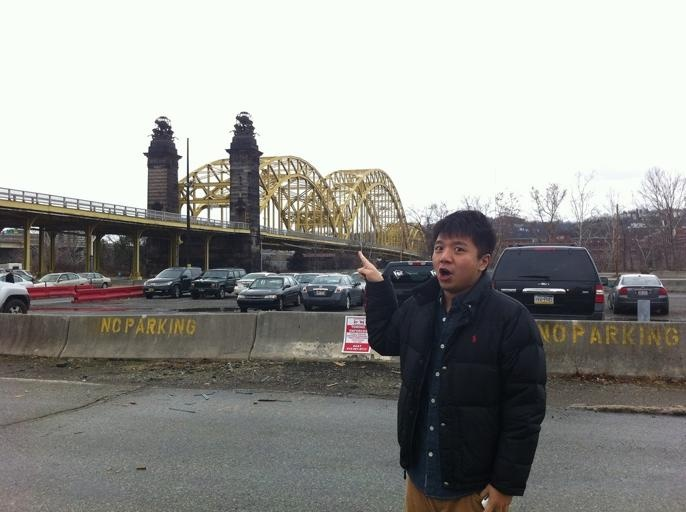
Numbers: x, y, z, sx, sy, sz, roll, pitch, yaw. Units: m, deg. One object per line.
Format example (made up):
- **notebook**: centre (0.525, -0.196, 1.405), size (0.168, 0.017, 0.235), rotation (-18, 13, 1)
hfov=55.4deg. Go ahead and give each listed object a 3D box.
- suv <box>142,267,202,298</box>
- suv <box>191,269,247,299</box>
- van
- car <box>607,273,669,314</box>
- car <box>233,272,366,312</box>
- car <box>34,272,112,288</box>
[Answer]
- **suv**: centre (-8.870, 1.393, 35.349), size (1.387, 1.253, 3.136), rotation (-3, -3, 18)
- **suv**: centre (-6.284, 1.439, 34.888), size (1.403, 1.068, 2.458), rotation (-4, -4, 19)
- **van**: centre (4.023, 0.491, 13.131), size (1.220, 1.112, 2.107), rotation (0, 2, 17)
- **car**: centre (9.283, 1.292, 21.626), size (1.355, 1.168, 3.296), rotation (0, 3, 14)
- **car**: centre (-1.556, 1.472, 25.507), size (4.676, 1.410, 3.117), rotation (0, 3, -10)
- **car**: centre (-15.585, 1.460, 39.341), size (2.189, 0.674, 0.902), rotation (7, -8, -34)
